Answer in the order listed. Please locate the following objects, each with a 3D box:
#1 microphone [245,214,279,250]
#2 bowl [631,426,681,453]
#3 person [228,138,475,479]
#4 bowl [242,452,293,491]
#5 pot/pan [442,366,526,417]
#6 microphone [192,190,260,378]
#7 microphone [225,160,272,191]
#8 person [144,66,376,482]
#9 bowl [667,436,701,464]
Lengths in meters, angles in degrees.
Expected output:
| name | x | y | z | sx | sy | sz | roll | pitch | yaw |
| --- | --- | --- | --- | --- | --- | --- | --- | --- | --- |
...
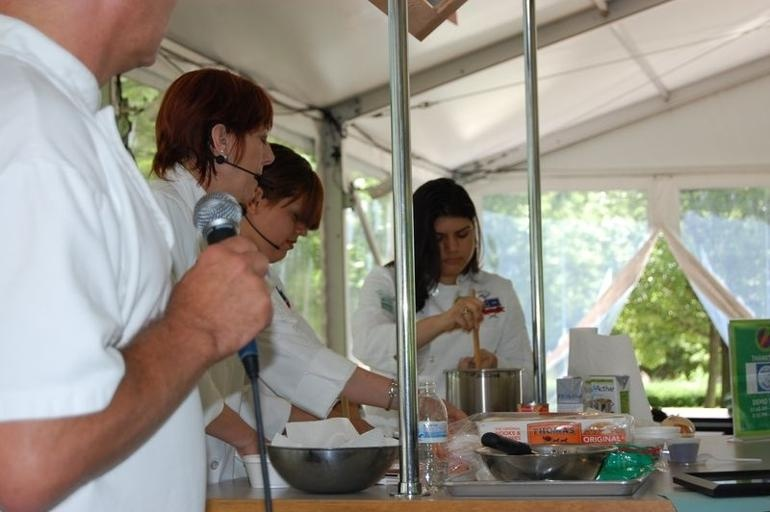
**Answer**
| name | x | y | z | sx | sy | sz | roll | pitch | yaw |
| --- | --- | --- | --- | --- | --- | --- | --- | --- | --- |
| microphone | -0.424 | -0.074 | 2.611 | 0.109 | 0.028 | 0.084 | 37 | -11 | -7 |
| bowl | 0.650 | 0.442 | 1.830 | 0.109 | 0.049 | 0.117 | 1 | -7 | 0 |
| person | 0.285 | 0.489 | 3.326 | 0.804 | 1.559 | 0.746 | -5 | 6 | -24 |
| bowl | -0.254 | 0.476 | 1.703 | 0.094 | 0.066 | 0.131 | -1 | -2 | -3 |
| pot/pan | 0.288 | 0.375 | 2.220 | 0.153 | 0.138 | 0.196 | 0 | 1 | 33 |
| microphone | -0.309 | 0.009 | 1.507 | 0.108 | 0.431 | 0.106 | 1 | -28 | -26 |
| microphone | -0.383 | -0.224 | 2.124 | 0.130 | 0.038 | 0.106 | 14 | -7 | 41 |
| person | -0.385 | -0.027 | 2.199 | 0.692 | 1.464 | 0.553 | 1 | -2 | -22 |
| bowl | 0.739 | 0.477 | 1.883 | 0.060 | 0.047 | 0.063 | 0 | -9 | 0 |
